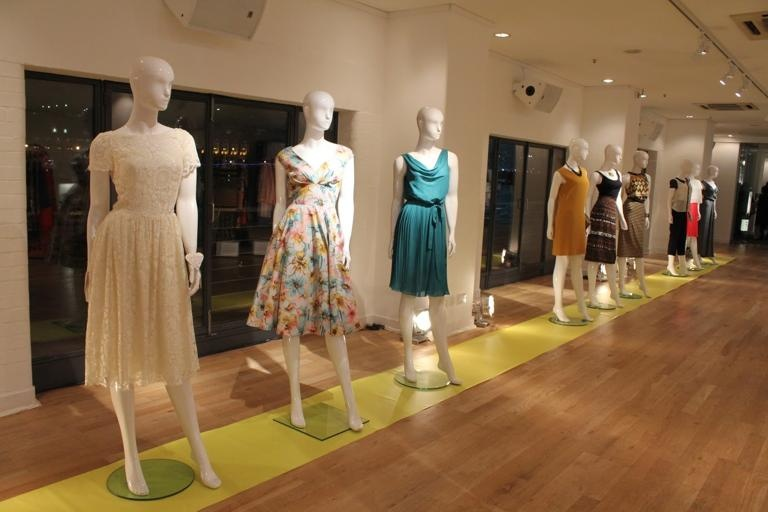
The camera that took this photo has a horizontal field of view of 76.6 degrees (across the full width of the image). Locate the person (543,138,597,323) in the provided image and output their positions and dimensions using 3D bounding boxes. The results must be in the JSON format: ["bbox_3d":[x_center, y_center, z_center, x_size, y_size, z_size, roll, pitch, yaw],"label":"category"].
[{"bbox_3d":[2.196,-0.242,5.651,0.568,2.170,0.898,7,12,24],"label":"person"}]

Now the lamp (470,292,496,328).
[{"bbox_3d":[1.164,0.638,5.752,0.219,0.373,0.271,2,1,-17],"label":"lamp"}]

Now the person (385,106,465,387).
[{"bbox_3d":[0.353,-0.065,3.995,0.609,2.235,0.376,1,11,-5],"label":"person"}]

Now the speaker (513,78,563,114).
[{"bbox_3d":[2.271,-2.355,7.125,0.737,0.440,0.212,18,8,-31],"label":"speaker"}]

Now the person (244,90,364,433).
[{"bbox_3d":[-0.521,0.020,3.399,0.775,2.285,0.583,1,11,-4],"label":"person"}]

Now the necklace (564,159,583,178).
[{"bbox_3d":[2.167,-1.012,5.534,0.226,0.178,0.198,0,12,-8],"label":"necklace"}]
